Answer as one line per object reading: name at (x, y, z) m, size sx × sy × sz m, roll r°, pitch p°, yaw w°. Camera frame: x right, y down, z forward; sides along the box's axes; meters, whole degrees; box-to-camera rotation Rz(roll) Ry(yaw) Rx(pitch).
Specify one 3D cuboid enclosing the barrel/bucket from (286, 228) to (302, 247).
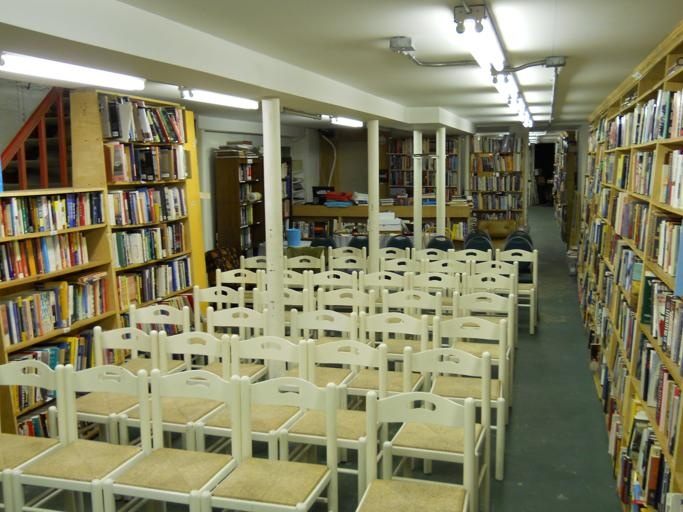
barrel/bucket at (-0.910, -0.340, 9.856) m, size 0.335 × 0.255 × 0.301 m, roll 0°, pitch 1°, yaw -13°

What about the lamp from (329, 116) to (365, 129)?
lamp at (0.078, -2.357, 9.464) m, size 0.533 × 0.105 × 1.580 m, roll 2°, pitch 11°, yaw -1°

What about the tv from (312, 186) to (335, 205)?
tv at (-0.485, -1.434, 12.451) m, size 0.605 × 0.511 × 0.434 m, roll 0°, pitch -1°, yaw 6°
